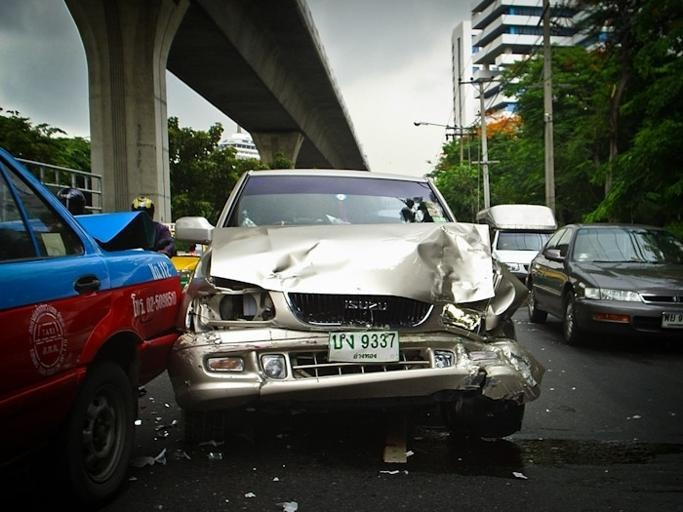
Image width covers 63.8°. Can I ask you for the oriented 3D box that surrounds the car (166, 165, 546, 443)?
[{"bbox_3d":[-0.035,0.238,4.659,2.809,1.983,2.489,0,0,-7],"label":"car"}]
